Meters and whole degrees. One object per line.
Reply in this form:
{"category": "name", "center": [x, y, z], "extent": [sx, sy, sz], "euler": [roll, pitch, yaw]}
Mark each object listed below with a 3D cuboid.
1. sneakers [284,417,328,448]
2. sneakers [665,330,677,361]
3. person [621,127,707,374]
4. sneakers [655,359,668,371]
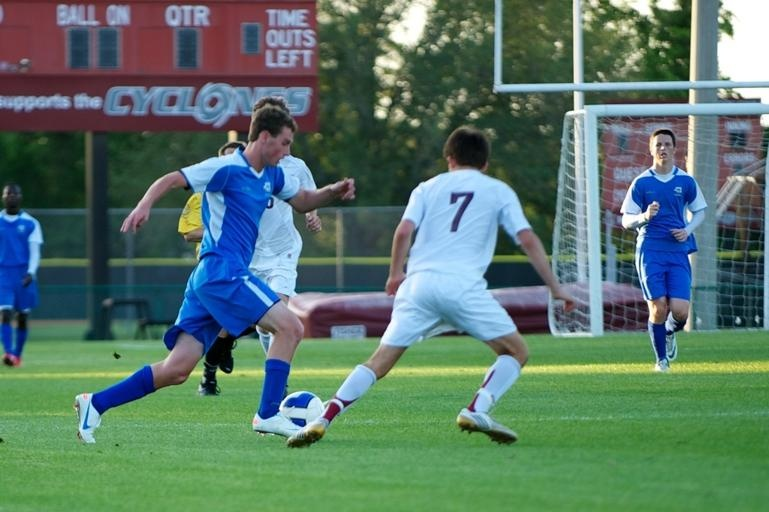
{"category": "sneakers", "center": [-0.867, 2.062, 16.092], "extent": [0.614, 0.198, 0.255], "euler": [-24, -11, 13]}
{"category": "sneakers", "center": [4.076, 1.302, 19.734], "extent": [0.204, 0.503, 0.235], "euler": [-3, 17, 10]}
{"category": "person", "center": [3.851, -0.033, 19.148], "extent": [1.040, 3.357, 0.866], "euler": [2, 14, 16]}
{"category": "sneakers", "center": [3.849, 1.542, 19.258], "extent": [0.111, 0.119, 0.198], "euler": [2, 2, 7]}
